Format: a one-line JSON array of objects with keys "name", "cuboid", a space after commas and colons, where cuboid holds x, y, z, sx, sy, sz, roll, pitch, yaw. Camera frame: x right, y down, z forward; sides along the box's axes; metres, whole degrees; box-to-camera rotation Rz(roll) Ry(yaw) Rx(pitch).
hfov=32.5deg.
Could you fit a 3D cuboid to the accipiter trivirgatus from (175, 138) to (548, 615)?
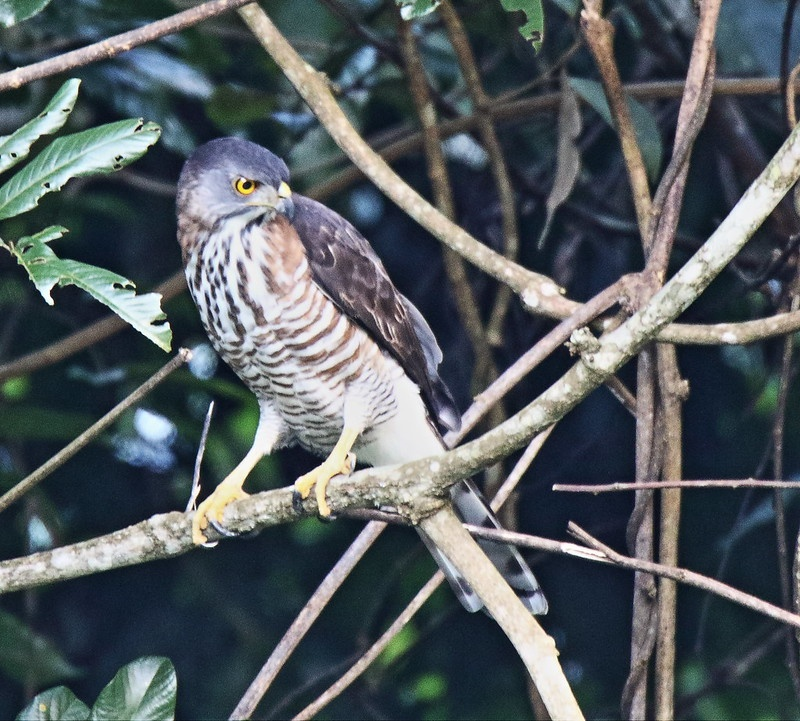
[{"name": "accipiter trivirgatus", "cuboid": [-0.070, 0.039, 2.886, 0.754, 0.843, 0.321, 11, -12, -33]}]
